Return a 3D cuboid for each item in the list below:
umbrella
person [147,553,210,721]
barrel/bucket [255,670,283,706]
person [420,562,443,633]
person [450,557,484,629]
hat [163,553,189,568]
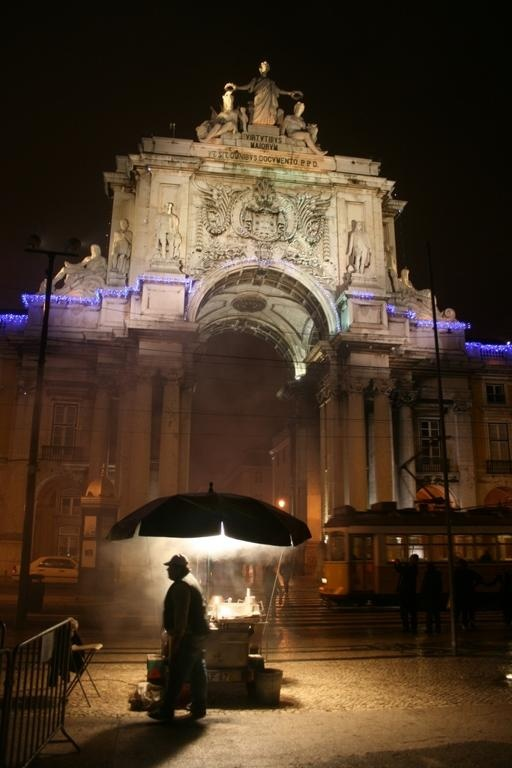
[{"bbox_3d":[-0.495,1.789,8.984,1.555,0.519,1.489,9,-22,-5],"label":"umbrella"},{"bbox_3d":[-0.806,2.757,7.550,0.570,1.708,0.950,3,-15,-4],"label":"person"},{"bbox_3d":[0.134,3.709,8.421,0.301,0.386,0.322,2,-15,0],"label":"barrel/bucket"},{"bbox_3d":[4.264,5.192,16.768,0.439,1.596,1.029,-2,-15,14],"label":"person"},{"bbox_3d":[5.358,5.345,17.546,0.582,1.682,1.209,-4,-16,21],"label":"person"},{"bbox_3d":[-0.917,1.914,7.581,0.288,0.147,0.196,5,-21,8],"label":"hat"}]
